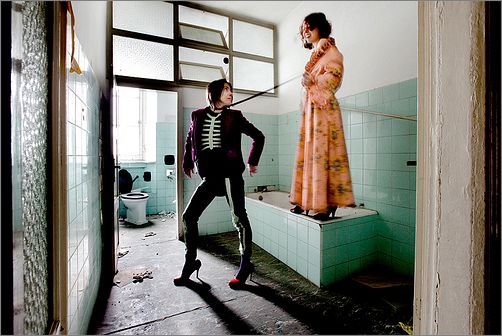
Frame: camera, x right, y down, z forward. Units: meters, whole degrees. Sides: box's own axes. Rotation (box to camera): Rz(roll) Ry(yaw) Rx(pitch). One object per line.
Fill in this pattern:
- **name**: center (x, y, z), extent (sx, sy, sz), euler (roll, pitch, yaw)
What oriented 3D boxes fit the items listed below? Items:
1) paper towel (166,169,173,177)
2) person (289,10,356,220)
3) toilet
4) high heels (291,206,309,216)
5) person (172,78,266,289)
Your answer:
- **paper towel**: center (-1.131, 0.057, 4.661), extent (0.083, 0.106, 0.147), euler (-2, 4, -30)
- **person**: center (0.510, -0.377, 2.523), extent (0.329, 1.516, 0.586), euler (-5, 12, -20)
- **toilet**: center (-1.531, 0.371, 4.363), extent (0.348, 0.638, 0.759), euler (-5, 12, -22)
- **high heels**: center (0.390, 0.343, 2.706), extent (0.149, 0.056, 0.053), euler (-5, -7, 25)
- **person**: center (-0.238, 0.099, 2.456), extent (0.637, 1.465, 0.352), euler (1, 11, 7)
